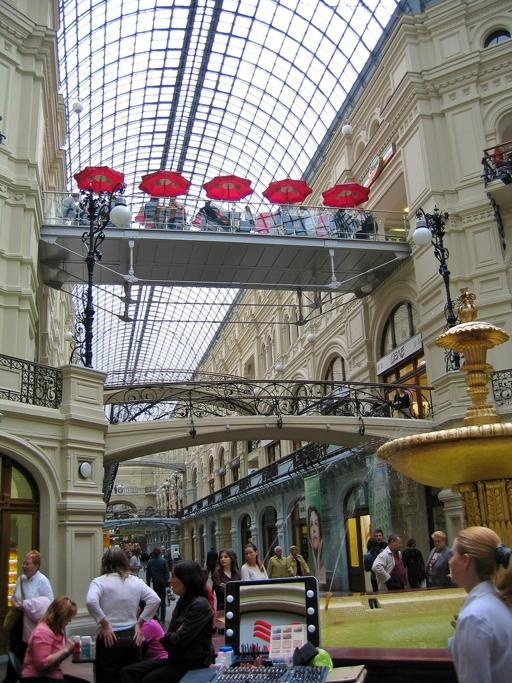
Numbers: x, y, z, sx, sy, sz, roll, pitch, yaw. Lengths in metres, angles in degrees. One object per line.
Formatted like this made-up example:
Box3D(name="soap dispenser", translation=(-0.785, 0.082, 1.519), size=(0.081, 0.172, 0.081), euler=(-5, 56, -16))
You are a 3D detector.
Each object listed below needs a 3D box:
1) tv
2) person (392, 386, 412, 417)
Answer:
Box3D(name="tv", translation=(0.090, 1.395, 3.117), size=(0.516, 0.342, 0.068), euler=(-5, -29, 14))
Box3D(name="person", translation=(3.756, 1.529, 16.155), size=(0.437, 0.886, 1.591), euler=(-8, -16, 13))
